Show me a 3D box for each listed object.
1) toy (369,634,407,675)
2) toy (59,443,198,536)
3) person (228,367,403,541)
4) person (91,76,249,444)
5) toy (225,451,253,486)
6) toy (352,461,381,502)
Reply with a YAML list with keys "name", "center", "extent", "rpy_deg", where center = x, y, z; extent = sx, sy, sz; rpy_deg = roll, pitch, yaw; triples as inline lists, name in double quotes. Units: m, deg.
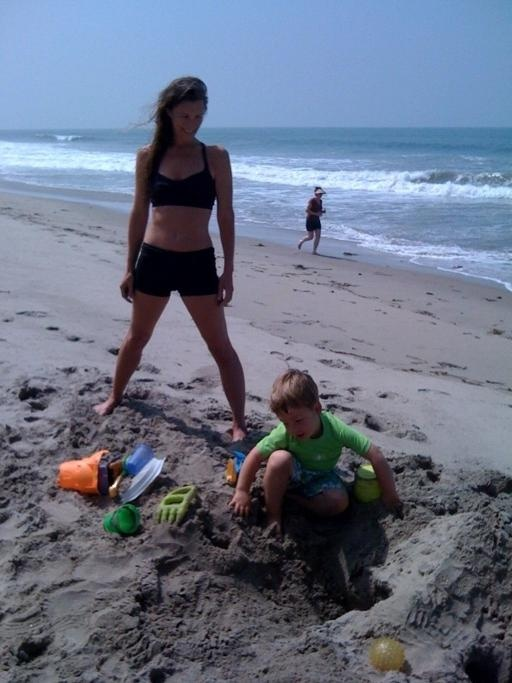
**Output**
- name: "toy"
  center: [0.420, 0.999, 1.911]
  extent: [0.117, 0.044, 0.132]
  rpy_deg: [8, 12, 13]
- name: "toy"
  center: [-0.621, 0.669, 2.838]
  extent: [0.452, 0.127, 0.382]
  rpy_deg: [3, 23, -16]
- name: "person"
  center: [0.237, 0.511, 2.742]
  extent: [0.840, 0.660, 0.409]
  rpy_deg: [0, -5, -16]
- name: "person"
  center: [-0.409, -0.414, 3.276]
  extent: [0.888, 1.889, 0.571]
  rpy_deg: [6, 12, -1]
- name: "toy"
  center: [-0.085, 0.620, 2.913]
  extent: [0.049, 0.136, 0.084]
  rpy_deg: [19, -18, -32]
- name: "toy"
  center: [0.464, 0.636, 2.735]
  extent: [0.151, 0.169, 0.145]
  rpy_deg: [-1, 7, -2]
